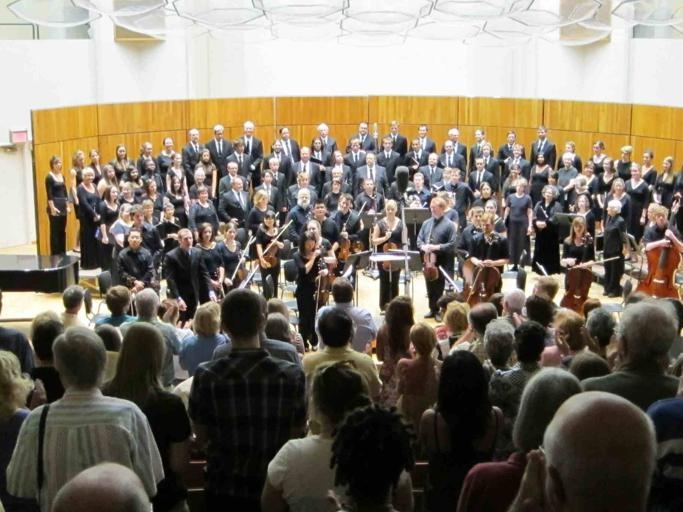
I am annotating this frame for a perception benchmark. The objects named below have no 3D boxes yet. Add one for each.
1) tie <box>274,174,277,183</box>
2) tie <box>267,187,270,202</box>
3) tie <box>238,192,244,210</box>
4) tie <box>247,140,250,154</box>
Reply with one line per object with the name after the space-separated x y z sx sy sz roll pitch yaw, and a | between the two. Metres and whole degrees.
-1.268 -1.487 14.398 0.083 0.137 0.031 -3 -3 -2 | tie
-1.340 -1.111 13.745 0.087 0.222 0.196 0 5 -5 | tie
-1.836 -1.013 13.665 0.124 0.256 0.118 -3 6 -34 | tie
-1.992 -2.322 16.023 0.100 0.246 0.082 0 5 -9 | tie
